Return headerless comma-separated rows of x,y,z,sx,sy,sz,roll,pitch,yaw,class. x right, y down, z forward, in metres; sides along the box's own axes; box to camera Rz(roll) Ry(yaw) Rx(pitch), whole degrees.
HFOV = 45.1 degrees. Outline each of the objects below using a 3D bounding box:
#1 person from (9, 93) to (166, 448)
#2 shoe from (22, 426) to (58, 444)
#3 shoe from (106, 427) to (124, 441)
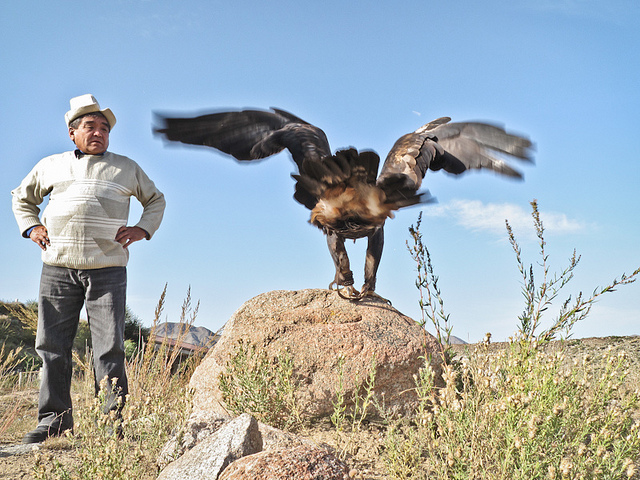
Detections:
-2.248,0.268,7.661,1.288,3.355,0.559,-4,-8,11,person
-2.608,1.843,7.443,0.302,0.155,0.126,4,-2,-8,shoe
-1.825,1.773,7.136,0.122,0.105,0.531,-1,-10,-12,shoe
